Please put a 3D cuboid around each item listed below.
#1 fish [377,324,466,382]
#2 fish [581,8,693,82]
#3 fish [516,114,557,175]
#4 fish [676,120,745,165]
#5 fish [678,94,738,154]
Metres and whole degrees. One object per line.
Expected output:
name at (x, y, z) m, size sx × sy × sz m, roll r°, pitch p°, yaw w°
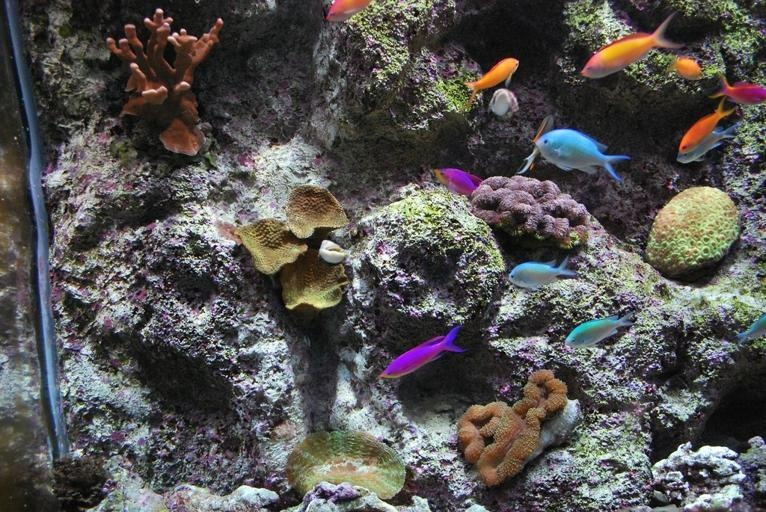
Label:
fish at (0.297, 0.783, 7.448) m, size 0.652 × 0.254 × 0.115 m, roll -24°, pitch 43°, yaw -3°
fish at (2.202, -1.797, 7.645) m, size 1.046 × 0.391 × 0.223 m, roll -22°, pitch 22°, yaw 19°
fish at (1.341, -1.000, 7.878) m, size 0.134 × 0.258 × 0.558 m, roll 15°, pitch 91°, yaw 14°
fish at (2.849, -0.985, 7.758) m, size 0.407 × 0.174 × 0.100 m, roll -34°, pitch 58°, yaw 12°
fish at (2.817, -1.147, 7.753) m, size 0.572 × 0.232 × 0.102 m, roll -39°, pitch 41°, yaw 4°
